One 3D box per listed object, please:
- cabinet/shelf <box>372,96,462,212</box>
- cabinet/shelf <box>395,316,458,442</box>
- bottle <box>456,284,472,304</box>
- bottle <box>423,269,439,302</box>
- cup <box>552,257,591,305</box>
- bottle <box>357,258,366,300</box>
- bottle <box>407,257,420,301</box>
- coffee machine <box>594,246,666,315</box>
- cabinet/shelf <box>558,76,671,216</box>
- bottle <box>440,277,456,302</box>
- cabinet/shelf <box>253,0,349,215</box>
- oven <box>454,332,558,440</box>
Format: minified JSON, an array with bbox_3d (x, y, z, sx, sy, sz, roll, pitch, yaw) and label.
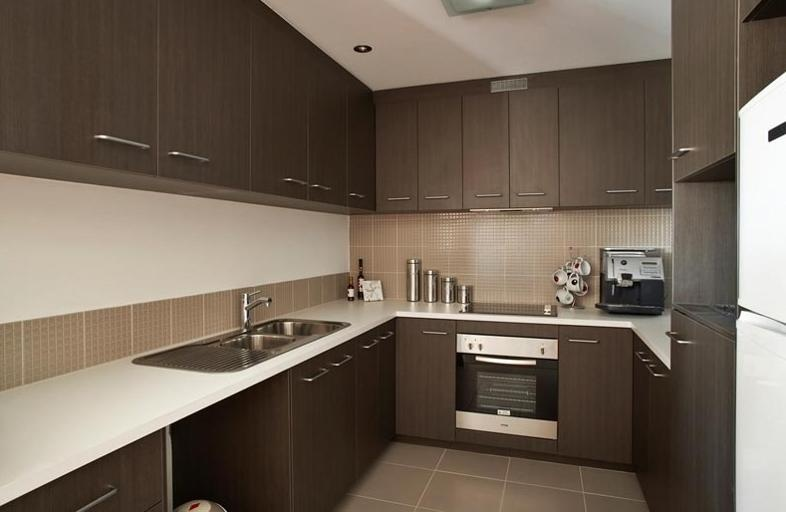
[{"bbox_3d":[0.202,-0.803,4.266,0.670,0.848,0.254,0,11,5],"label":"cabinet/shelf"},{"bbox_3d":[0.235,0.892,4.021,0.438,0.863,0.195,0,11,4],"label":"cabinet/shelf"},{"bbox_3d":[0.568,0.300,4.386,0.129,0.142,0.133,2,0,-1],"label":"bottle"},{"bbox_3d":[0.317,0.241,4.471,0.141,0.247,0.132,-1,11,0],"label":"bottle"},{"bbox_3d":[1.351,0.187,4.173,0.264,0.373,0.167,-8,-7,26],"label":"cup"},{"bbox_3d":[-0.283,0.188,4.674,0.075,0.339,0.178,-1,11,-3],"label":"bottle"},{"bbox_3d":[0.184,0.191,4.501,0.164,0.335,0.126,-6,12,-27],"label":"bottle"},{"bbox_3d":[1.732,0.183,4.089,0.488,0.491,0.455,-1,-3,18],"label":"coffee machine"},{"bbox_3d":[1.575,-0.826,3.883,0.894,1.094,0.408,-1,0,20],"label":"cabinet/shelf"},{"bbox_3d":[0.457,0.270,4.423,0.138,0.192,0.141,-1,11,0],"label":"bottle"},{"bbox_3d":[-0.578,-0.934,3.334,0.396,0.934,1.068,-2,-5,17],"label":"cabinet/shelf"},{"bbox_3d":[0.855,0.959,4.087,0.709,0.685,0.481,0,-11,19],"label":"oven"}]
